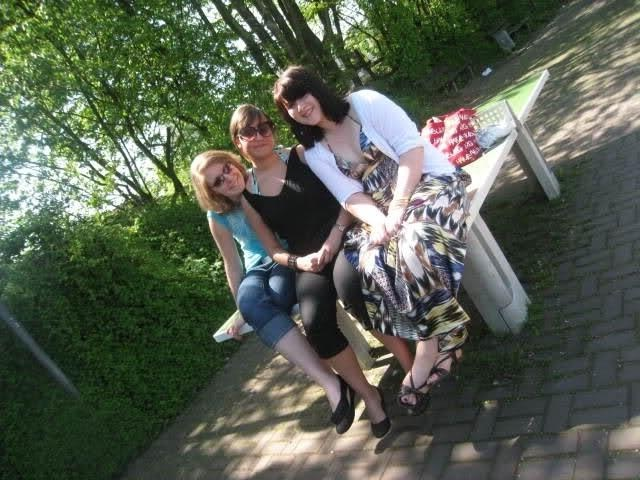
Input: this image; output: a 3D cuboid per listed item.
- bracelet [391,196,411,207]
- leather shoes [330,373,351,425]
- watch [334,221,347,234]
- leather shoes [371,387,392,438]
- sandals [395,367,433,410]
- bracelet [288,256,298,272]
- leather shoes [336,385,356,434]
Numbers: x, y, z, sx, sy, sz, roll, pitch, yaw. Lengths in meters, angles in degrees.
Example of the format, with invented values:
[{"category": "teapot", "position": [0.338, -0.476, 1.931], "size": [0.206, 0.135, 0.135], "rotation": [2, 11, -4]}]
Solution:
[{"category": "bracelet", "position": [0.554, -0.258, 3.212], "size": [0.072, 0.079, 0.076], "rotation": [-2, -10, 13]}, {"category": "leather shoes", "position": [0.156, 1.127, 3.370], "size": [0.127, 0.089, 0.352], "rotation": [119, 161, -54]}, {"category": "watch", "position": [0.161, -0.099, 3.579], "size": [0.066, 0.075, 0.076], "rotation": [5, 35, 14]}, {"category": "leather shoes", "position": [0.439, 1.225, 3.429], "size": [0.118, 0.080, 0.397], "rotation": [-38, 46, 30]}, {"category": "sandals", "position": [0.662, 1.029, 3.223], "size": [0.207, 0.410, 0.130], "rotation": [3, 8, 13]}, {"category": "bracelet", "position": [-0.208, 0.174, 3.542], "size": [0.095, 0.109, 0.096], "rotation": [-2, -4, 17]}, {"category": "leather shoes", "position": [0.193, 1.182, 3.369], "size": [0.138, 0.094, 0.368], "rotation": [116, 162, -57]}]
